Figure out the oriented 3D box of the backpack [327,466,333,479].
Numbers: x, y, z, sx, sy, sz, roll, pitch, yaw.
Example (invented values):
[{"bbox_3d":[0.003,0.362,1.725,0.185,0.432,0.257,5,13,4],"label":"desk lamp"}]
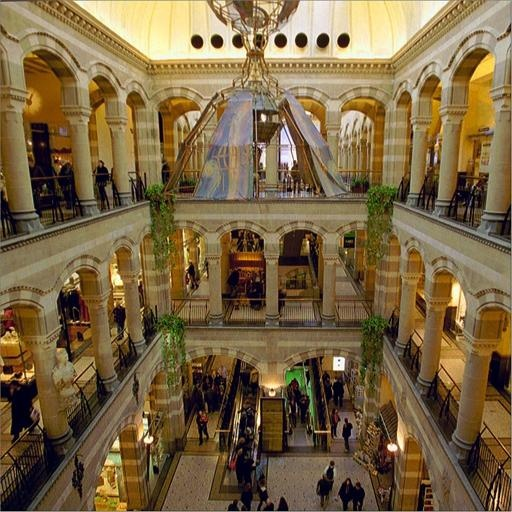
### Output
[{"bbox_3d":[2.208,6.527,12.191,0.188,0.364,0.354,1,12,7],"label":"backpack"}]
